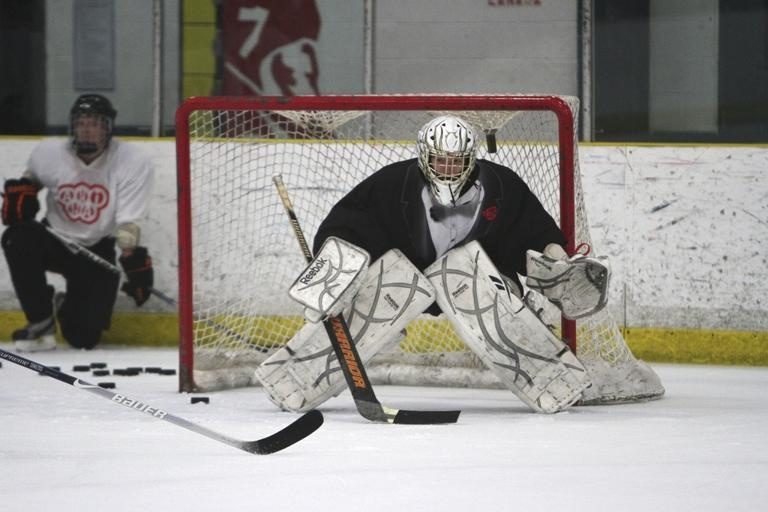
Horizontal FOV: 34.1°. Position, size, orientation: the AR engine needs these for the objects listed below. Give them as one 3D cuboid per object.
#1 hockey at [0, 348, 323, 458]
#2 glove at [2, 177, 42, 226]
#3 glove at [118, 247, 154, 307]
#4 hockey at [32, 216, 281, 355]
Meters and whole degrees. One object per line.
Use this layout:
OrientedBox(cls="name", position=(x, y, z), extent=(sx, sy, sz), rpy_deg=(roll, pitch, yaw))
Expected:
OrientedBox(cls="hockey", position=(-1.193, 0.818, 6.894), extent=(1.357, 0.157, 0.189), rpy_deg=(13, -27, 29))
OrientedBox(cls="glove", position=(-2.527, -0.396, 8.717), extent=(0.264, 0.334, 0.347), rpy_deg=(2, -1, -41))
OrientedBox(cls="glove", position=(-1.680, 0.125, 8.591), extent=(0.256, 0.377, 0.101), rpy_deg=(-10, 6, -19))
OrientedBox(cls="hockey", position=(-1.548, 0.187, 8.584), extent=(1.597, 0.056, 0.218), rpy_deg=(30, -32, 6))
